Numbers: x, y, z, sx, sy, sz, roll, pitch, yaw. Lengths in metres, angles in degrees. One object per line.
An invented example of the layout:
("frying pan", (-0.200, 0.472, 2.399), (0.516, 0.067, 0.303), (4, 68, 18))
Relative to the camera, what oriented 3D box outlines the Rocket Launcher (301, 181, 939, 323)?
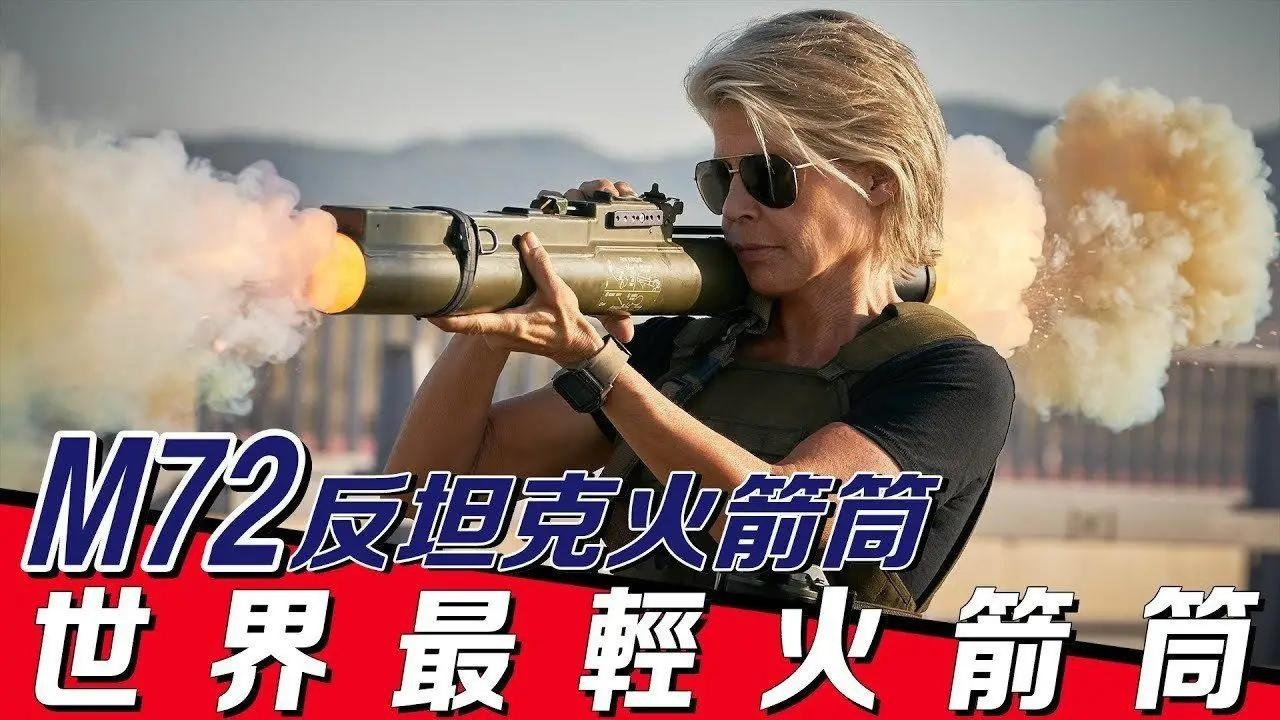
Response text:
("Rocket Launcher", (-0.226, -0.662, 12.911), (3.979, 0.797, 0.617), (-1, -2, -41))
